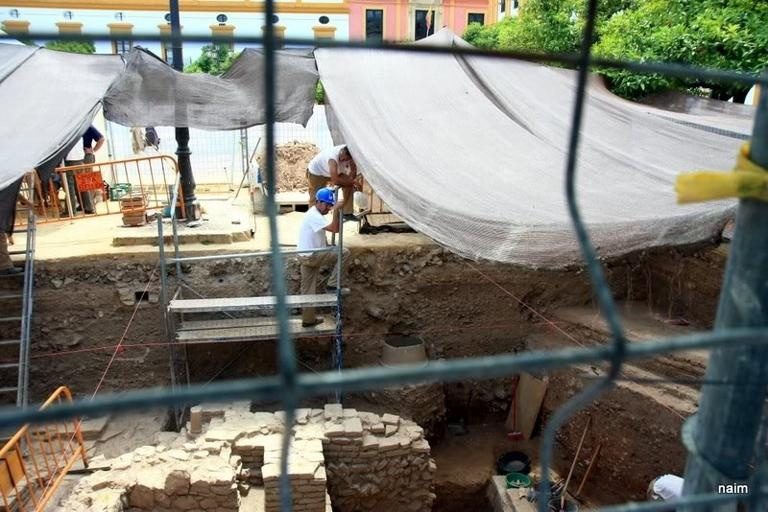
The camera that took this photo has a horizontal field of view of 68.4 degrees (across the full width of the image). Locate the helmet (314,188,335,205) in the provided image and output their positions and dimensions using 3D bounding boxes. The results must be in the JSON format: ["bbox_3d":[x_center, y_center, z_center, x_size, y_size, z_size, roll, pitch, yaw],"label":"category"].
[{"bbox_3d":[-0.790,-0.817,7.940,0.301,0.251,0.208,-7,42,-17],"label":"helmet"}]

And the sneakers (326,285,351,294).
[{"bbox_3d":[-0.688,0.501,8.443,0.395,0.147,0.125,2,2,1],"label":"sneakers"}]

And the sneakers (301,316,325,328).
[{"bbox_3d":[-1.025,0.938,8.224,0.320,0.130,0.115,-16,29,-36],"label":"sneakers"}]

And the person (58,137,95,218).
[{"bbox_3d":[-5.568,-1.400,10.137,0.569,1.369,1.194,-12,20,-28],"label":"person"}]

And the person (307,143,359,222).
[{"bbox_3d":[-0.689,-1.151,8.482,0.727,1.197,0.591,13,33,10],"label":"person"}]
